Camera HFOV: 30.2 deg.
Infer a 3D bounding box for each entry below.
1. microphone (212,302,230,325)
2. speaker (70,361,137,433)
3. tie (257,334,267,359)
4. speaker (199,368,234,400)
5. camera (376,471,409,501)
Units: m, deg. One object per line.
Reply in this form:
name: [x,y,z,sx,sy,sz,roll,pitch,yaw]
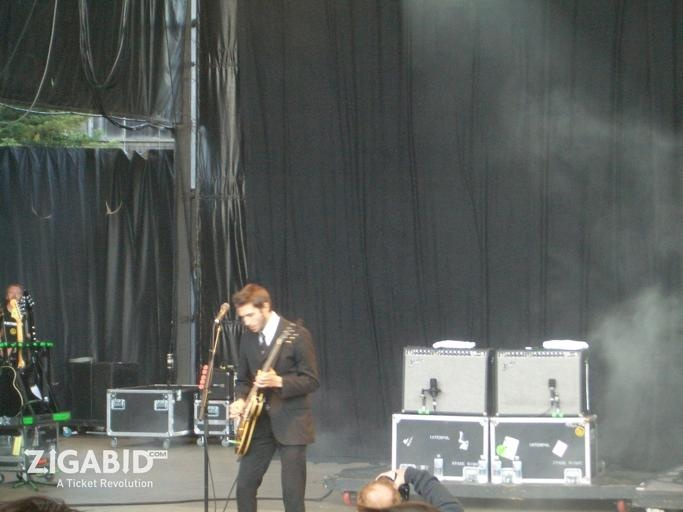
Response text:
microphone: [-1.357,0.658,14.207,0.094,0.298,0.083,23,24,-42]
speaker: [-3.332,1.845,16.675,0.951,1.139,0.914,0,-5,9]
tie: [-0.709,0.834,11.424,0.054,0.183,0.134,-4,11,-14]
speaker: [-1.508,1.590,15.852,0.309,0.417,0.326,-1,-6,-6]
camera: [0.446,1.859,10.209,0.293,0.270,0.178,1,-3,36]
